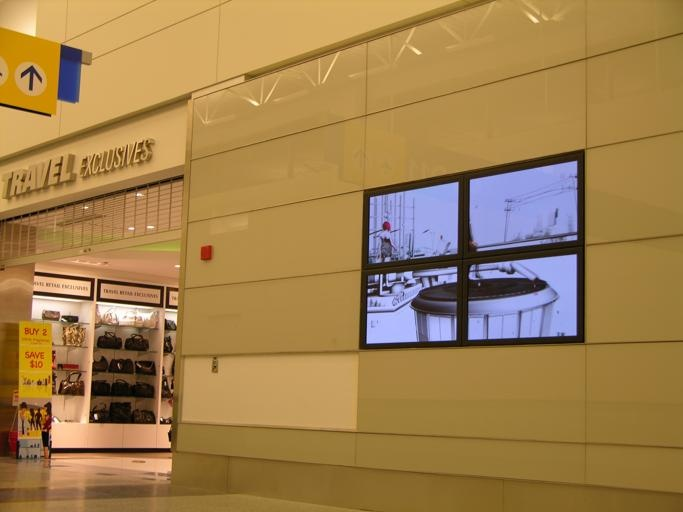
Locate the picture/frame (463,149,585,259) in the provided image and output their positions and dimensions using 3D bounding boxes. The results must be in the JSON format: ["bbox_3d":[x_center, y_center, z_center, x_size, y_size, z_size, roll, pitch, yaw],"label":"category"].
[{"bbox_3d":[1.587,-0.398,4.444,0.030,0.733,1.026,18,20,39],"label":"picture/frame"}]

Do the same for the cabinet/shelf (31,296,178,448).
[{"bbox_3d":[-4.930,2.415,11.320,3.149,3.065,0.911,5,-11,-35],"label":"cabinet/shelf"}]
